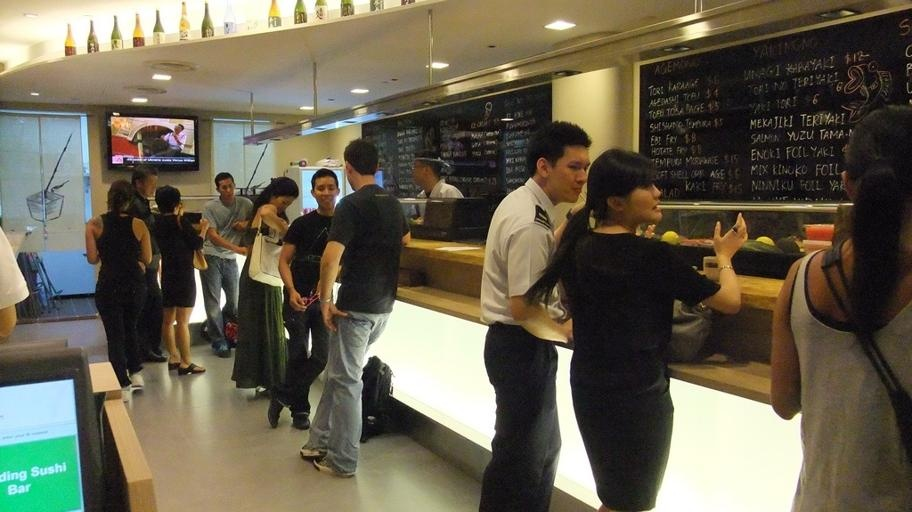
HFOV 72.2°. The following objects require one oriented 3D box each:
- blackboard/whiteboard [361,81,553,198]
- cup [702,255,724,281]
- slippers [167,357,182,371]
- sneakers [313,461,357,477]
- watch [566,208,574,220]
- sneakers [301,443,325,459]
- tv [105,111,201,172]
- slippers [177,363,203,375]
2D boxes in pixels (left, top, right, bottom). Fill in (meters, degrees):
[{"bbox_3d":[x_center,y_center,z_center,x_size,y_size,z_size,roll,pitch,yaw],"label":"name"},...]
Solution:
[{"bbox_3d":[0.024,-1.381,7.782,2.360,1.216,0.016,4,5,42],"label":"blackboard/whiteboard"},{"bbox_3d":[1.455,0.073,3.594,0.155,0.137,0.145,-1,4,0],"label":"cup"},{"bbox_3d":[-2.977,1.163,6.696,0.092,0.089,0.234,2,4,3],"label":"slippers"},{"bbox_3d":[-0.896,1.589,4.696,0.316,0.108,0.111,4,3,28],"label":"sneakers"},{"bbox_3d":[0.635,-0.233,3.474,0.061,0.030,0.066,-22,13,13],"label":"watch"},{"bbox_3d":[-1.095,1.533,4.863,0.237,0.087,0.083,2,-4,26],"label":"sneakers"},{"bbox_3d":[-4.843,-1.921,10.444,0.184,0.944,1.727,8,13,21],"label":"tv"},{"bbox_3d":[-2.769,1.197,6.549,0.239,0.082,0.118,0,3,-24],"label":"slippers"}]
